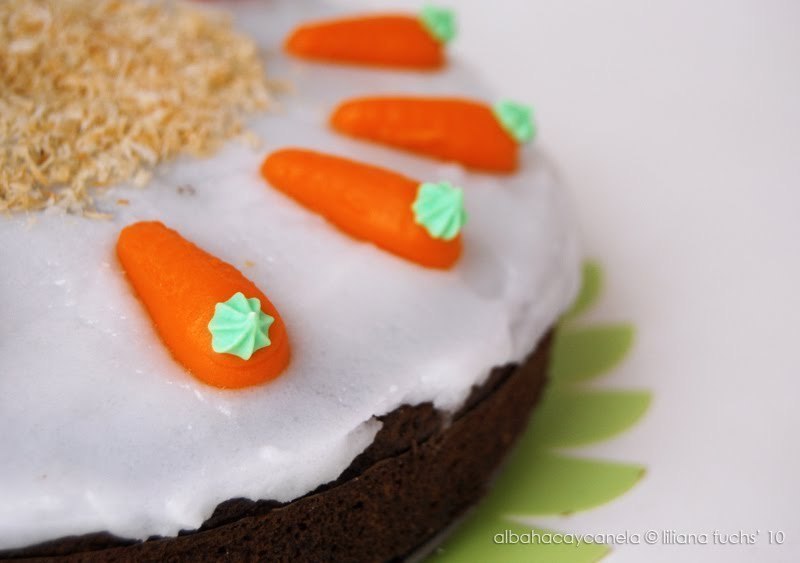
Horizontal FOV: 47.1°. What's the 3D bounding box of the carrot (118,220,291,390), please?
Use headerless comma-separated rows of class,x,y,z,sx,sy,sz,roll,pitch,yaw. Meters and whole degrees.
carrot,-0.423,0.047,1.842,0.392,0.150,0.198,41,50,14
